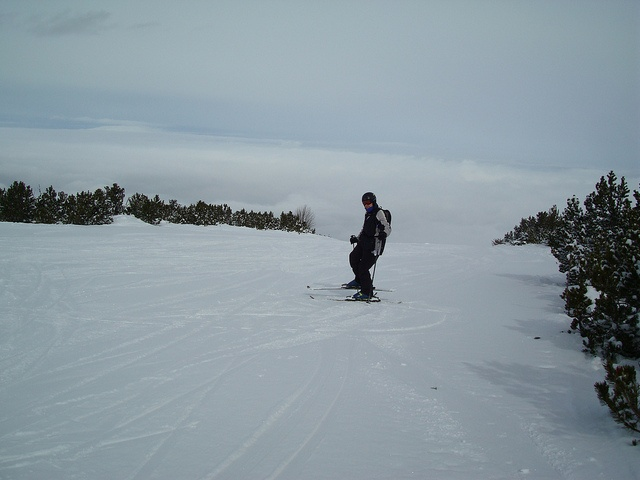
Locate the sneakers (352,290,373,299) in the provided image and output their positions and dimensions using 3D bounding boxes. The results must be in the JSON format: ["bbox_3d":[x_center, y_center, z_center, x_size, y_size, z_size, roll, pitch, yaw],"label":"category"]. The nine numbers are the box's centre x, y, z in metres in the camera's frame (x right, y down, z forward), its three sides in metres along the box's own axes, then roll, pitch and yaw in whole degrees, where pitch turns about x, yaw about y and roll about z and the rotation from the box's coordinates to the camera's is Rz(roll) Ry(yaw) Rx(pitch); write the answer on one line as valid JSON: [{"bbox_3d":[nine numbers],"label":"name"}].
[{"bbox_3d":[0.915,1.180,10.953,0.443,0.226,0.155,-1,-4,0],"label":"sneakers"}]

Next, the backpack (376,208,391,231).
[{"bbox_3d":[1.360,-0.435,10.816,0.311,0.406,0.917,2,7,5],"label":"backpack"}]

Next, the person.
[{"bbox_3d":[1.079,0.100,11.228,0.872,2.274,1.201,2,7,3],"label":"person"}]

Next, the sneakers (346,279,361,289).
[{"bbox_3d":[0.740,1.047,11.940,0.417,0.194,0.134,4,-4,17],"label":"sneakers"}]
